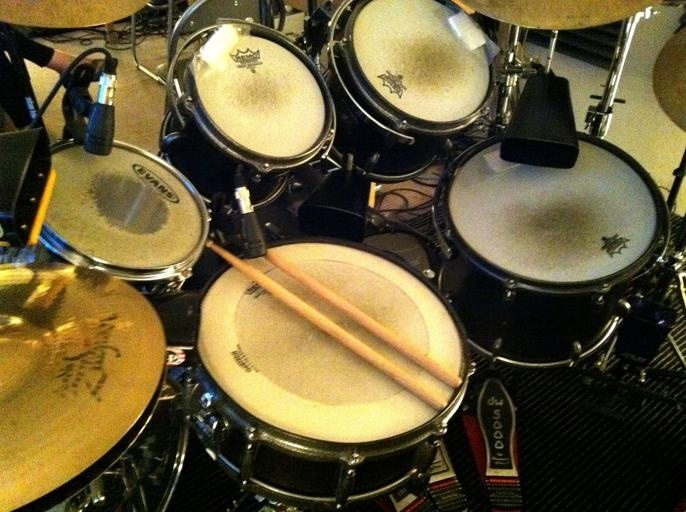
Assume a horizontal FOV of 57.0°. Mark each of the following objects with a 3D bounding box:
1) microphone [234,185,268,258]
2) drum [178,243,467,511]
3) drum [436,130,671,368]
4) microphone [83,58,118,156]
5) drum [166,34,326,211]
[{"bbox_3d":[-0.269,-0.092,1.911,0.075,0.069,0.254,-16,60,1],"label":"microphone"},{"bbox_3d":[-0.040,0.315,1.752,0.722,0.485,0.626,5,27,-12],"label":"drum"},{"bbox_3d":[0.557,0.041,2.224,0.714,0.501,0.707,2,64,-3],"label":"drum"},{"bbox_3d":[-0.659,-0.403,1.722,0.086,0.281,0.174,-1,29,-22],"label":"microphone"},{"bbox_3d":[-0.359,-0.374,2.214,0.569,0.544,0.553,-4,67,-5],"label":"drum"}]
